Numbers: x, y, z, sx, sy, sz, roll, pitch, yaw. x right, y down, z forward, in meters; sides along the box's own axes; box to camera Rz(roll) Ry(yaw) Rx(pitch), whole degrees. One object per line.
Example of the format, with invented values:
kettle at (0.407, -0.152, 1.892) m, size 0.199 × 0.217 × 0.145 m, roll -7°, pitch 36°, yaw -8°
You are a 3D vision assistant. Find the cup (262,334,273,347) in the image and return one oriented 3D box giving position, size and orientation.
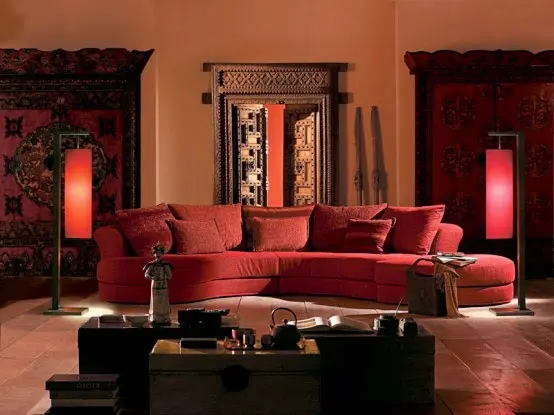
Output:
cup at (-0.064, 0.820, 3.572) m, size 0.073 × 0.080 × 0.050 m, roll 1°, pitch 2°, yaw -6°

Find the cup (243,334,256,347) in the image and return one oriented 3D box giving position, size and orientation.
cup at (-0.171, 0.825, 3.568) m, size 0.070 × 0.068 × 0.072 m, roll 0°, pitch 4°, yaw 0°

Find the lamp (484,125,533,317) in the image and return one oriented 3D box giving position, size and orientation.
lamp at (2.577, 0.081, 6.383) m, size 0.439 × 1.841 × 2.035 m, roll 2°, pitch 6°, yaw 20°

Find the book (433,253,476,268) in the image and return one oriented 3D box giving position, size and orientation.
book at (1.756, 0.522, 5.808) m, size 0.220 × 0.055 × 0.218 m, roll -3°, pitch 6°, yaw -34°

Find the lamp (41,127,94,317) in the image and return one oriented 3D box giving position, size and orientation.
lamp at (-2.457, 0.055, 6.850) m, size 0.491 × 1.898 × 2.776 m, roll -2°, pitch 6°, yaw -18°

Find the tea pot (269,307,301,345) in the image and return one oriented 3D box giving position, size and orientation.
tea pot at (0.032, 0.738, 3.624) m, size 0.216 × 0.228 × 0.155 m, roll -4°, pitch 0°, yaw 22°

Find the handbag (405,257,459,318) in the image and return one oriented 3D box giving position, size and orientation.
handbag at (1.504, 0.775, 5.666) m, size 0.252 × 0.576 × 0.559 m, roll 10°, pitch -9°, yaw -33°
